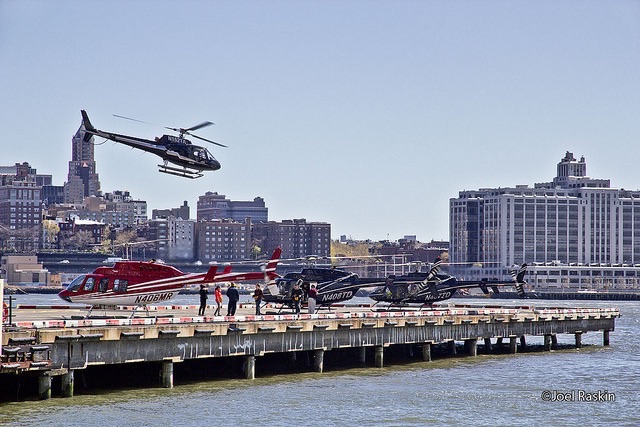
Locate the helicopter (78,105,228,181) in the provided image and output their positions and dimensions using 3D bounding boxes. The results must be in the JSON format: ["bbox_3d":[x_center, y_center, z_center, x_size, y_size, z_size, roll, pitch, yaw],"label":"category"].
[{"bbox_3d":[-14.154,-6.363,146.681,18.086,4.906,13.927,2,1,-17],"label":"helicopter"}]

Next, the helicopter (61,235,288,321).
[{"bbox_3d":[-14.239,6.321,138.121,17.028,4.723,3.137,-1,1,-7],"label":"helicopter"}]
